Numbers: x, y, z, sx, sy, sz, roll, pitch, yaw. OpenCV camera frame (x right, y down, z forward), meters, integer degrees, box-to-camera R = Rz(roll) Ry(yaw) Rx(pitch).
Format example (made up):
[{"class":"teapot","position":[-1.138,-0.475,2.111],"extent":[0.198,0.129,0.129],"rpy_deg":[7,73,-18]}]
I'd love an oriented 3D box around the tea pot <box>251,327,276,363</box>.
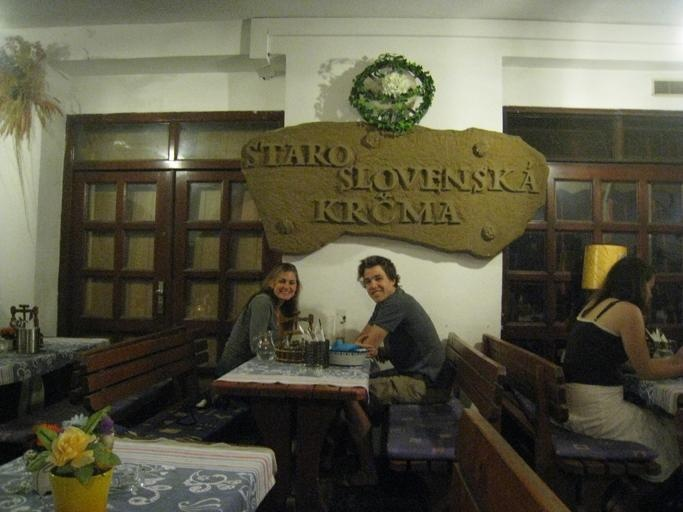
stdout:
[{"class":"tea pot","position":[-0.532,0.640,4.141],"extent":[0.177,0.227,0.165],"rpy_deg":[0,-7,0]}]

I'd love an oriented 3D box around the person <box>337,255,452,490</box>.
[{"class":"person","position":[0.403,0.817,4.480],"extent":[0.892,1.672,0.664],"rpy_deg":[3,2,-2]}]

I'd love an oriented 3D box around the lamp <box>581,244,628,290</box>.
[{"class":"lamp","position":[2.097,0.064,4.793],"extent":[0.371,0.431,0.377],"rpy_deg":[5,2,3]}]
